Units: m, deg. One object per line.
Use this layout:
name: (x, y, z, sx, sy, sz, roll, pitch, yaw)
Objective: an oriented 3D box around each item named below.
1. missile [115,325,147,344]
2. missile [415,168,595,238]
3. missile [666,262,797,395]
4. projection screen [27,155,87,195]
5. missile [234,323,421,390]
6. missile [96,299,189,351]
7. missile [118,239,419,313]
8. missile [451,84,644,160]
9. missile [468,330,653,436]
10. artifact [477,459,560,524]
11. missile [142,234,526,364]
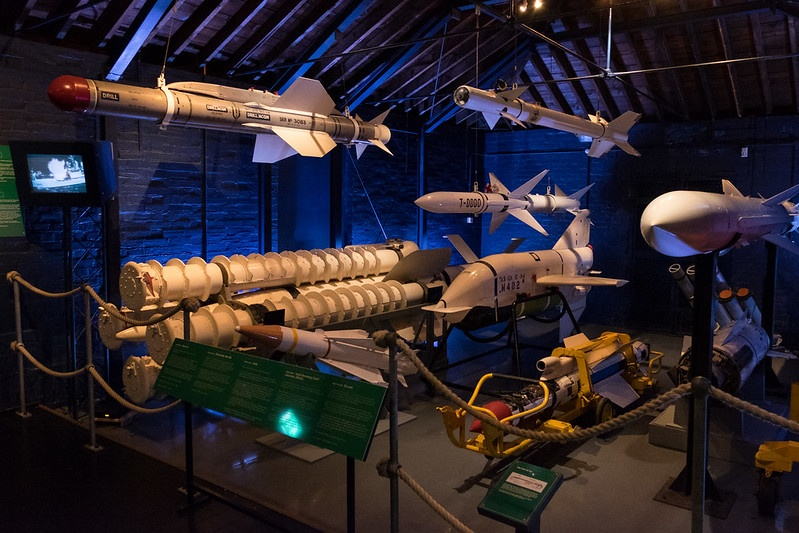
missile: (-3.728, 0.943, 8.339, 0.428, 0.228, 0.232, 0, 5, -34)
missile: (1.865, -1.165, 11.641, 4.477, 1.232, 1.398, -4, 21, -41)
missile: (5.190, 1.278, 9.147, 2.192, 1.029, 1.327, -6, 3, -43)
projection screen: (-5.129, -1.378, 8.878, 1.008, 0.682, 0.004, -1, 1, 10)
missile: (-0.928, 1.026, 7.458, 2.399, 0.589, 0.617, 18, -5, -33)
missile: (-3.482, 0.771, 8.119, 1.126, 0.582, 0.584, -11, 41, -40)
missile: (-1.499, 0.395, 10.165, 6.035, 0.923, 0.945, 4, 3, -45)
missile: (2.674, -2.580, 10.387, 4.139, 0.740, 0.965, 3, -2, -36)
missile: (2.530, 1.725, 8.656, 3.540, 0.946, 1.146, -9, 7, -41)
artifact: (1.117, 2.062, 5.449, 0.563, 0.170, 0.804, 8, 27, 35)
missile: (-1.725, 0.272, 9.393, 4.061, 1.251, 2.329, -5, 5, -38)
